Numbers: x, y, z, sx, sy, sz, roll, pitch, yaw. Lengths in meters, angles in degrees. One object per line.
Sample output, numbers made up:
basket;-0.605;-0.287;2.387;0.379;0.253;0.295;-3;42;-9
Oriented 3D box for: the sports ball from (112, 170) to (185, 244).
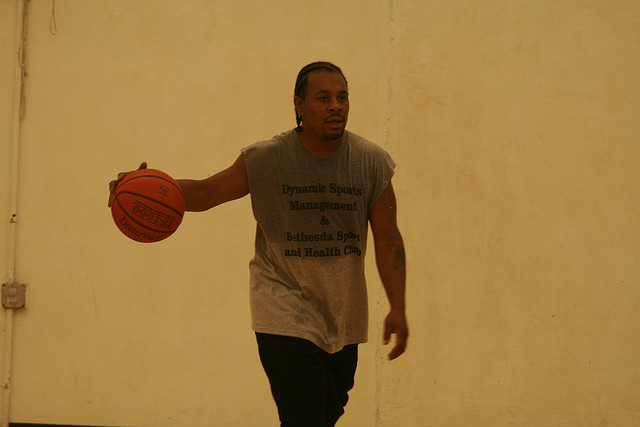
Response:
sports ball;-1.234;-0.103;7.315;0.490;0.584;0.484;2;12;0
